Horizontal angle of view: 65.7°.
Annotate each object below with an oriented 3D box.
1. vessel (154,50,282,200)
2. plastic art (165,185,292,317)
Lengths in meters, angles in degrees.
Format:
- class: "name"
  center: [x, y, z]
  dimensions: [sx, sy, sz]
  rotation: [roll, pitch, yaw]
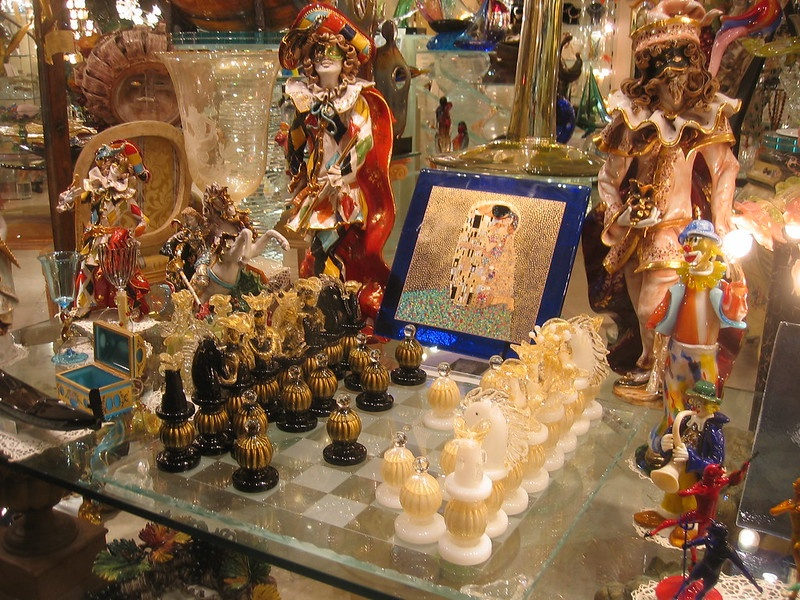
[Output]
- class: "vessel"
  center: [-0.549, -0.554, 2.047]
  dimensions: [0.412, 0.544, 0.420]
  rotation: [-1, 15, -3]
- class: "plastic art"
  center: [-0.558, -0.180, 1.896]
  dimensions: [0.445, 0.437, 0.298]
  rotation: [4, 17, 26]
